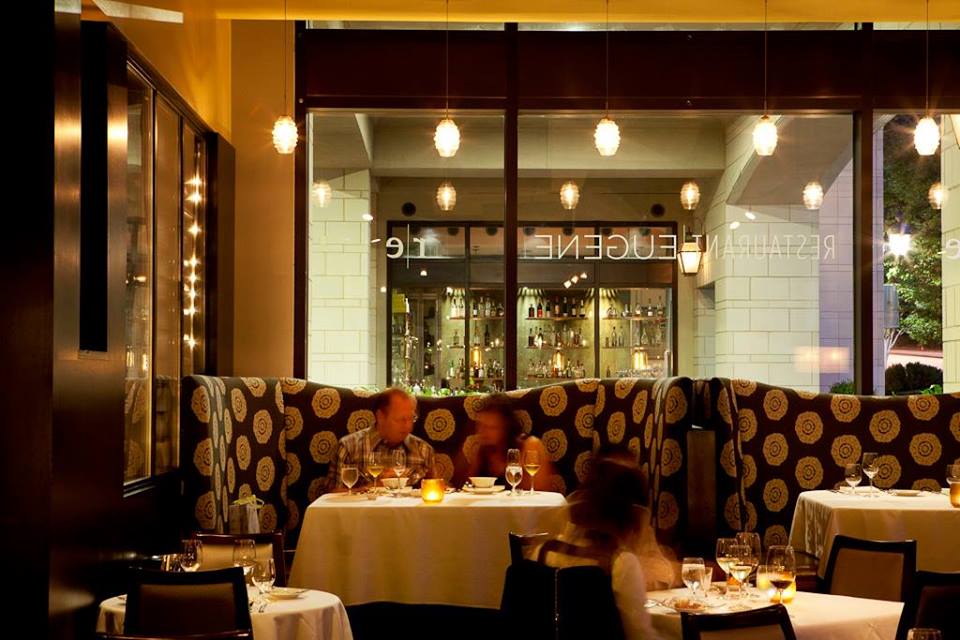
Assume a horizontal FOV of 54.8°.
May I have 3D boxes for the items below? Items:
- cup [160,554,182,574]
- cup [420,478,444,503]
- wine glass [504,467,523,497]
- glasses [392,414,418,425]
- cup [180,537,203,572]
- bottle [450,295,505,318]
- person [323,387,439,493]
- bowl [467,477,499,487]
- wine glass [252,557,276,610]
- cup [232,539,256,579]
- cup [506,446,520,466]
[{"bbox_3d":[-1.623,1.253,4.821,0.066,0.080,0.175,3,-4,-41],"label":"cup"},{"bbox_3d":[-0.310,1.110,6.035,0.126,0.140,0.135,-1,-6,0],"label":"cup"},{"bbox_3d":[0.232,1.105,6.355,0.151,0.272,0.166,0,-8,1],"label":"wine glass"},{"bbox_3d":[-0.569,0.719,6.805,0.105,0.091,0.140,2,-11,-21],"label":"glasses"},{"bbox_3d":[-1.496,1.212,4.785,0.123,0.218,0.127,1,-13,0],"label":"cup"},{"bbox_3d":[-0.053,-0.118,8.308,0.523,0.196,0.056,0,-3,12],"label":"bottle"},{"bbox_3d":[-0.690,0.901,6.917,0.838,0.881,0.487,1,15,-33],"label":"person"},{"bbox_3d":[0.012,1.111,6.331,0.109,0.055,0.120,-2,-7,0],"label":"bowl"},{"bbox_3d":[-1.118,1.331,4.739,0.107,0.245,0.263,1,-3,-14],"label":"wine glass"},{"bbox_3d":[-1.215,1.231,4.802,0.167,0.170,0.088,-2,-4,43],"label":"cup"},{"bbox_3d":[0.235,0.937,6.421,0.082,0.093,0.090,0,-7,0],"label":"cup"}]
